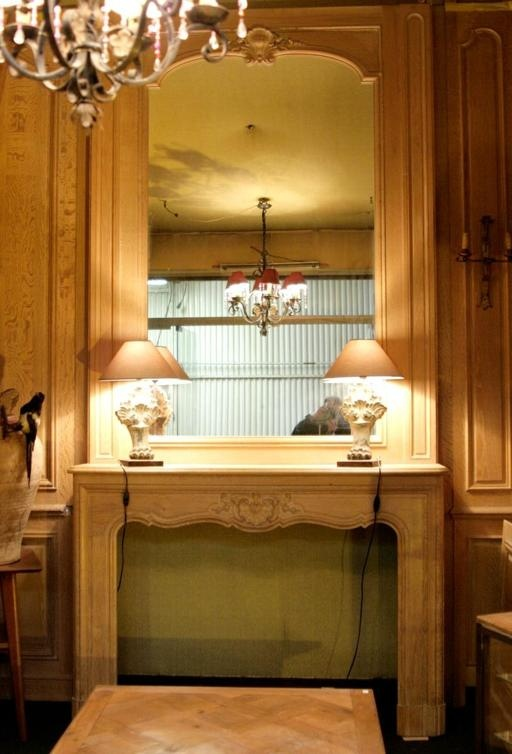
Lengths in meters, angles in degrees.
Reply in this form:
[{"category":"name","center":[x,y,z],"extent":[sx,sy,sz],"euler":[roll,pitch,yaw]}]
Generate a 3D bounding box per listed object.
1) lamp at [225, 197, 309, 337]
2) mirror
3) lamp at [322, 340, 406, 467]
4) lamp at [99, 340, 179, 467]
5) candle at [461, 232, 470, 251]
[{"category":"lamp","center":[0.049,-0.479,3.360],"extent":[0.343,0.585,0.279],"euler":[-1,-2,-14]},{"category":"mirror","center":[0.077,-0.533,3.194],"extent":[1.832,2.532,0.105],"euler":[0,-1,5]},{"category":"lamp","center":[0.440,0.101,3.083],"extent":[0.328,0.491,0.343],"euler":[1,5,6]},{"category":"lamp","center":[-0.438,0.109,3.109],"extent":[0.328,0.504,0.367],"euler":[0,5,-4]},{"category":"candle","center":[0.894,-0.566,3.254],"extent":[0.034,0.079,0.077],"euler":[1,5,15]}]
